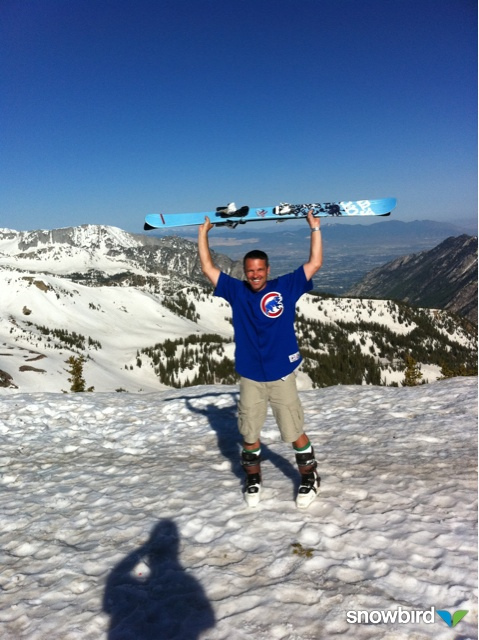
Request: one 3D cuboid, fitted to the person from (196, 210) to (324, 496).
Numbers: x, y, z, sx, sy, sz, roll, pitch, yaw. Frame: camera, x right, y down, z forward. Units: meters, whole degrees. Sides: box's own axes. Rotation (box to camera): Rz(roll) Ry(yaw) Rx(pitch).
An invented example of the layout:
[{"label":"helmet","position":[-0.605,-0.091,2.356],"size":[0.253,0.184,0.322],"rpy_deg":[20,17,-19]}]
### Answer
[{"label":"person","position":[0.359,0.519,6.136],"size":[1.476,3.074,0.704],"rpy_deg":[-4,5,14]}]
